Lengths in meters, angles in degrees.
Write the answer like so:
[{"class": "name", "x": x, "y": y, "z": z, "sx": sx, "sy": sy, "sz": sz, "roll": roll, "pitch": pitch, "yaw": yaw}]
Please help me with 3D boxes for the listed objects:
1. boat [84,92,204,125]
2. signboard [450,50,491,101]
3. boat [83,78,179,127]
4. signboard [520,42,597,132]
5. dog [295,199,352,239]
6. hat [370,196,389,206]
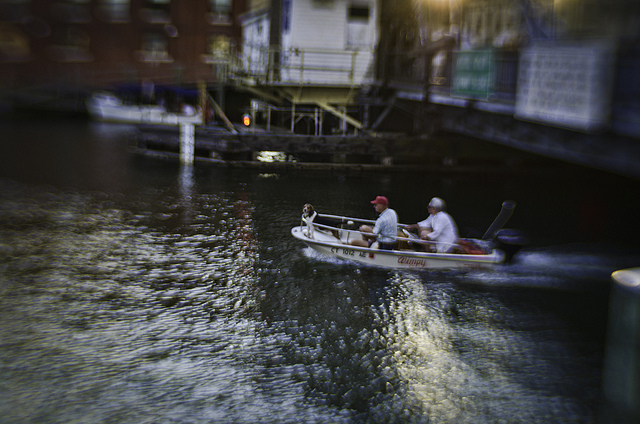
[{"class": "boat", "x": -9.536, "y": -5.777, "z": 29.064, "sx": 9.529, "sy": 1.792, "sz": 2.219, "roll": 9, "pitch": 11, "yaw": 36}, {"class": "signboard", "x": 5.610, "y": -5.176, "z": 19.446, "sx": 2.004, "sy": 1.677, "sz": 0.204, "roll": -11, "pitch": 21, "yaw": -33}, {"class": "boat", "x": -11.300, "y": -6.615, "z": 31.717, "sx": 1.434, "sy": 2.626, "sz": 6.969, "roll": 4, "pitch": 6, "yaw": 34}, {"class": "signboard", "x": 7.387, "y": -3.835, "z": 16.079, "sx": 0.332, "sy": 2.376, "sz": 2.592, "roll": -34, "pitch": 36, "yaw": -28}, {"class": "dog", "x": 0.184, "y": 0.414, "z": 14.496, "sx": 1.894, "sy": 0.893, "sz": 0.467, "roll": 15, "pitch": 5, "yaw": 36}, {"class": "hat", "x": 1.520, "y": -0.285, "z": 13.510, "sx": 0.486, "sy": 0.217, "sz": 0.279, "roll": 2, "pitch": 6, "yaw": 10}]
